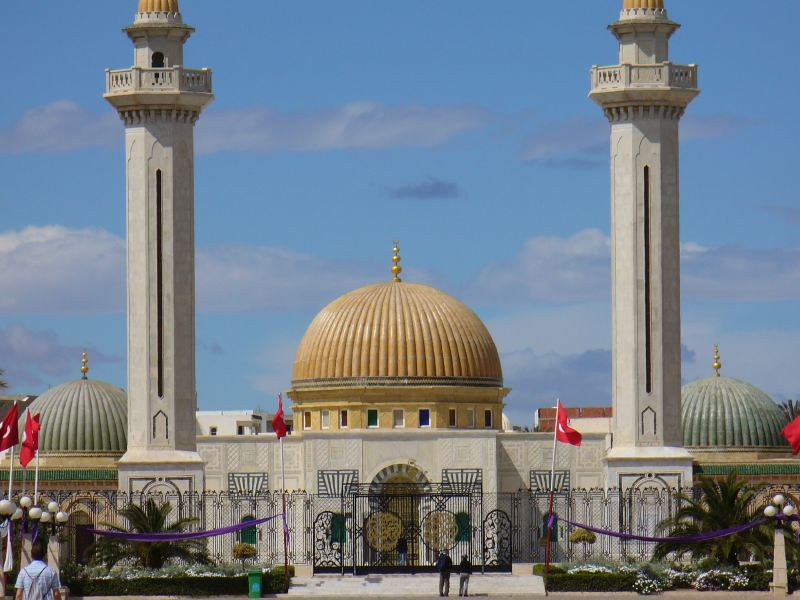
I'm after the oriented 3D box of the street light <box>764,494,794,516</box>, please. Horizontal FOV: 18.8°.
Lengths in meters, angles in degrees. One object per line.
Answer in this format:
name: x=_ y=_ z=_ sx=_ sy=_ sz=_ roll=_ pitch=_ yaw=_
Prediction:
street light: x=10.544 y=5.727 z=66.800 sx=0.760 sy=0.695 sz=1.873 roll=-3 pitch=-10 yaw=6
